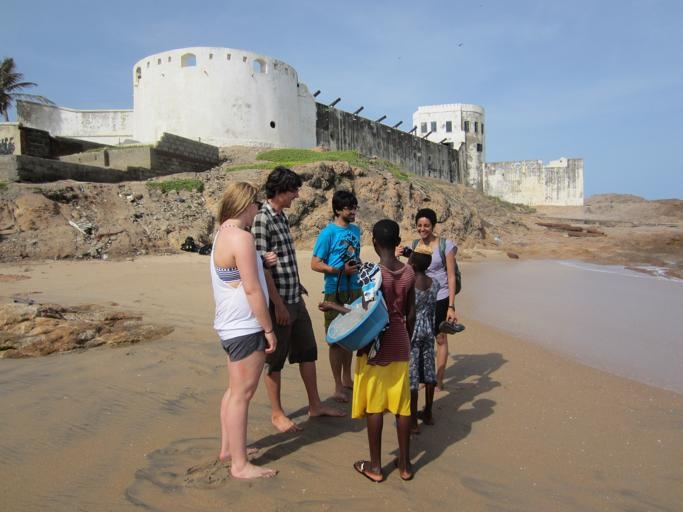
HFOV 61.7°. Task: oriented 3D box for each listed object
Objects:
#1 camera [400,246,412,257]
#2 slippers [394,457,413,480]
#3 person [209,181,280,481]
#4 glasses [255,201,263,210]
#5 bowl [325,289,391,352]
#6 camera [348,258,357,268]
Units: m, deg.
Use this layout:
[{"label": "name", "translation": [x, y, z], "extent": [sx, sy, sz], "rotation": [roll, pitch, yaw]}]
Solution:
[{"label": "camera", "translation": [0.708, -0.052, 6.315], "extent": [0.084, 0.077, 0.145], "rotation": [1, 2, -21]}, {"label": "slippers", "translation": [0.600, 1.940, 5.313], "extent": [0.159, 0.175, 0.219], "rotation": [5, 12, 4]}, {"label": "person", "translation": [-0.889, 0.641, 5.198], "extent": [0.561, 2.537, 0.858], "rotation": [0, 12, -21]}, {"label": "glasses", "translation": [-0.779, -0.477, 5.464], "extent": [0.042, 0.092, 0.081], "rotation": [7, 13, -19]}, {"label": "bowl", "translation": [0.134, 0.573, 5.286], "extent": [0.567, 0.585, 0.455], "rotation": [10, 13, 25]}, {"label": "camera", "translation": [0.126, 0.073, 6.465], "extent": [0.084, 0.076, 0.144], "rotation": [-35, 5, -9]}]
